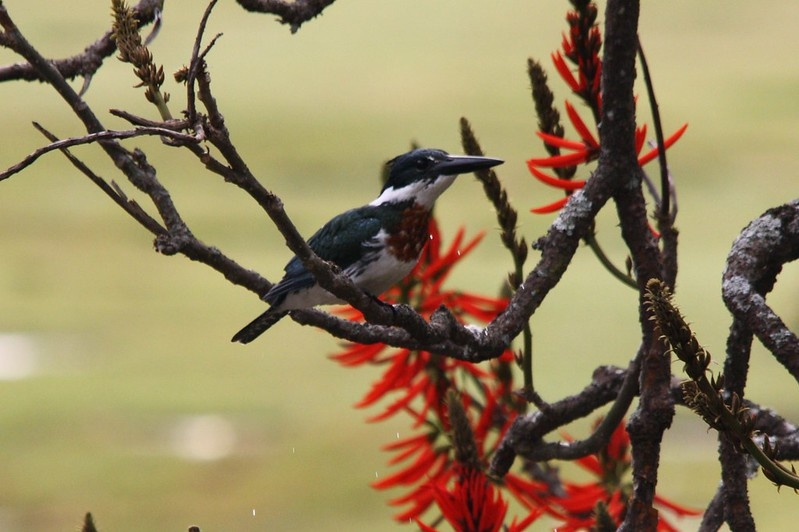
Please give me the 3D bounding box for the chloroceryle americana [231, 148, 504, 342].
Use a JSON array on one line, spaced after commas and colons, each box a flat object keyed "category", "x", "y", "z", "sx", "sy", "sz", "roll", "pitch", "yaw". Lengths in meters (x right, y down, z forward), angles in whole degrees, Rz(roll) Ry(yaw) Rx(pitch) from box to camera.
[{"category": "chloroceryle americana", "x": -0.093, "y": -0.043, "z": 2.717, "sx": 0.560, "sy": 0.329, "sz": 0.193, "roll": -9, "pitch": -14, "yaw": 30}]
